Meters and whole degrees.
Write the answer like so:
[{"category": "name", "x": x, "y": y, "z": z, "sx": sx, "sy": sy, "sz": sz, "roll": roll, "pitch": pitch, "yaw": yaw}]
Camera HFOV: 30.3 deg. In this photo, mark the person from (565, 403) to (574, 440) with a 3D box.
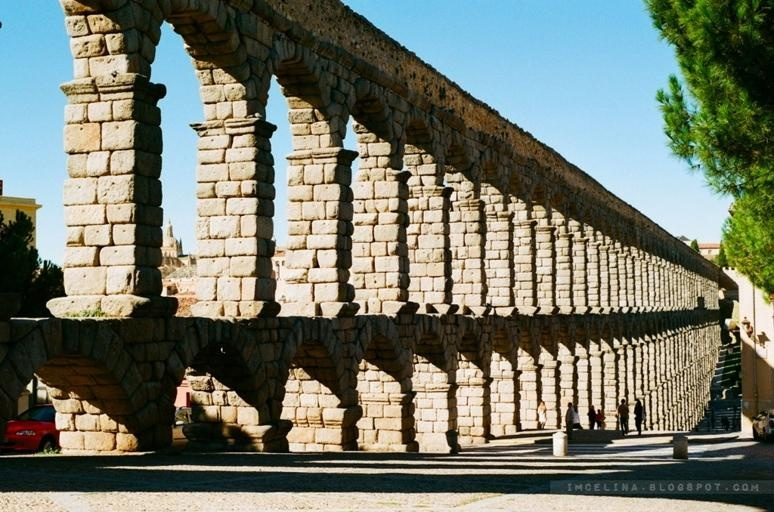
[{"category": "person", "x": 5.325, "y": 4.828, "z": 41.058, "sx": 0.274, "sy": 1.110, "sz": 0.632, "roll": -7, "pitch": -30, "yaw": 5}]
